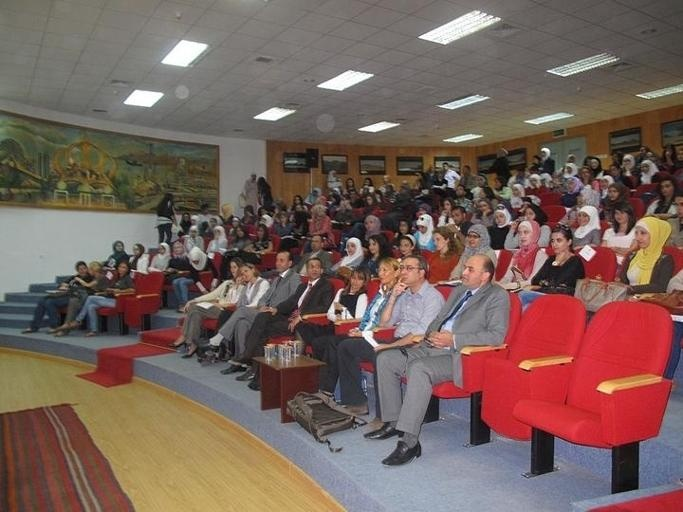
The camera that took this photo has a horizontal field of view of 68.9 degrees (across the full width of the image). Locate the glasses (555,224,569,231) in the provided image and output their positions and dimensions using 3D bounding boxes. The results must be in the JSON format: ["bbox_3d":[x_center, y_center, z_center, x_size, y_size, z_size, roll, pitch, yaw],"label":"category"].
[{"bbox_3d":[2.120,-0.279,4.794,0.119,0.085,0.030,-1,21,4],"label":"glasses"}]

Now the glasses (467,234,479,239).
[{"bbox_3d":[1.527,-0.219,5.754,0.082,0.022,0.076,8,-6,-43],"label":"glasses"}]

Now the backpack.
[{"bbox_3d":[-0.102,1.270,3.984,0.617,0.147,0.626,-1,19,-17],"label":"backpack"}]

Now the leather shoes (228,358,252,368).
[{"bbox_3d":[-1.129,1.155,5.366,0.322,0.092,0.096,1,-12,19],"label":"leather shoes"}]

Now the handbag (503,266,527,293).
[{"bbox_3d":[1.785,0.254,5.142,0.276,0.125,0.299,-2,27,8],"label":"handbag"}]

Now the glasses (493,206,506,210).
[{"bbox_3d":[2.189,-0.661,6.861,0.082,0.036,0.110,-3,0,37],"label":"glasses"}]

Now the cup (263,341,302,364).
[{"bbox_3d":[-0.544,0.907,4.655,0.281,0.086,0.308,-1,-2,0],"label":"cup"}]

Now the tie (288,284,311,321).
[{"bbox_3d":[-0.425,0.482,5.479,0.106,0.312,0.291,17,-10,-33],"label":"tie"}]

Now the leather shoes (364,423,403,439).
[{"bbox_3d":[0.327,1.353,3.858,0.401,0.106,0.110,2,-6,-6],"label":"leather shoes"}]

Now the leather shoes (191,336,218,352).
[{"bbox_3d":[-1.624,1.050,5.922,0.464,0.137,0.157,-3,-8,40],"label":"leather shoes"}]

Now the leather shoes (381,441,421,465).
[{"bbox_3d":[0.416,1.358,3.427,0.320,0.098,0.114,-10,1,-30],"label":"leather shoes"}]

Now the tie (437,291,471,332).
[{"bbox_3d":[0.909,0.454,3.982,0.063,0.397,0.076,37,20,-13],"label":"tie"}]

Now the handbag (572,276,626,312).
[{"bbox_3d":[2.191,0.329,4.128,0.248,0.288,0.508,-11,7,-16],"label":"handbag"}]

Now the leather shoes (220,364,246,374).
[{"bbox_3d":[-1.189,1.252,5.487,0.357,0.107,0.100,2,-5,-11],"label":"leather shoes"}]

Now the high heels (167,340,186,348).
[{"bbox_3d":[-2.048,1.109,6.291,0.310,0.100,0.107,-11,-9,39],"label":"high heels"}]
